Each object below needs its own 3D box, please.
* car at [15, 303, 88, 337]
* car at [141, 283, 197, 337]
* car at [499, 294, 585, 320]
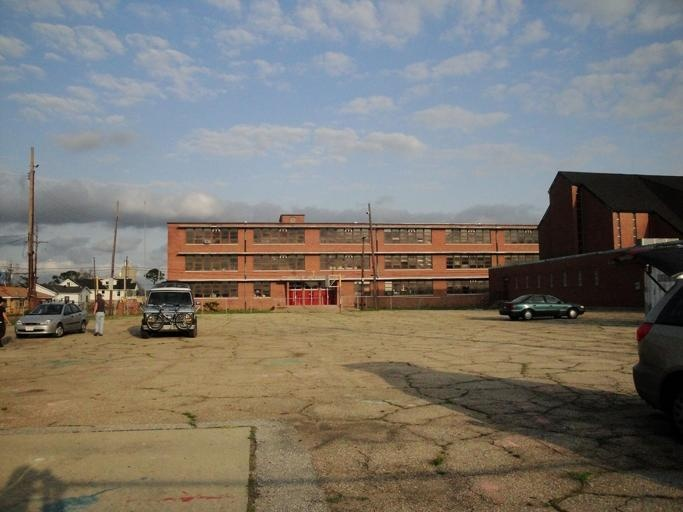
[{"bbox_3d":[-12.160,2.682,22.902,1.498,0.925,2.809,-1,-8,0],"label":"car"},{"bbox_3d":[-6.863,2.137,21.432,1.986,2.120,2.100,1,-2,-19],"label":"car"},{"bbox_3d":[11.692,3.001,31.297,4.677,1.344,1.815,-1,-3,-5],"label":"car"}]
